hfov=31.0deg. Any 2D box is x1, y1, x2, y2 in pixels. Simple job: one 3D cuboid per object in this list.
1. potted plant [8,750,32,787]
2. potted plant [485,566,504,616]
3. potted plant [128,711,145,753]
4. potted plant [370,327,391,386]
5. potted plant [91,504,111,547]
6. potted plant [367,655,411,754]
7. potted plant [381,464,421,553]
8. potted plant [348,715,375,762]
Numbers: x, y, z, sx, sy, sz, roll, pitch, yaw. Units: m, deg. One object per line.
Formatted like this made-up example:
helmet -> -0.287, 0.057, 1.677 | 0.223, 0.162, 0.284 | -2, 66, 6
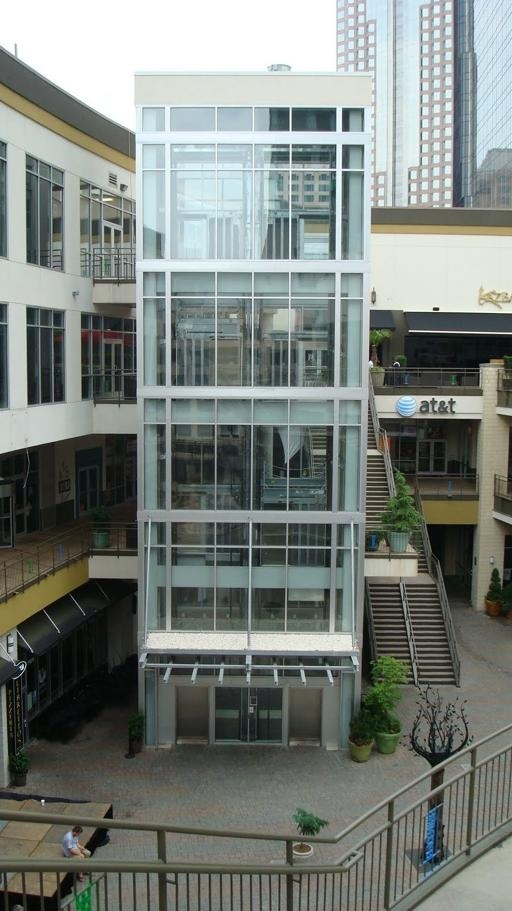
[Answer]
potted plant -> -5.317, 7.096, 20.924 | 0.418, 0.645, 0.446 | -2, 5, -8
potted plant -> 8.782, 5.088, 34.401 | 0.677, 1.763, 0.597 | 1, 4, 23
potted plant -> -2.996, 6.968, 23.115 | 0.301, 0.870, 0.709 | 0, 5, 20
potted plant -> 4.673, -3.853, 36.690 | 1.157, 2.247, 1.192 | -3, 7, 1
potted plant -> -4.337, 2.045, 26.216 | 0.514, 1.020, 1.219 | -2, 5, -10
potted plant -> 3.312, 6.199, 23.671 | 0.934, 2.111, 2.213 | 0, 5, 12
potted plant -> 4.147, 1.742, 26.698 | 0.969, 1.665, 2.772 | -1, 5, 10
potted plant -> 2.531, 6.848, 22.554 | 0.562, 1.122, 0.665 | 0, 5, 10
